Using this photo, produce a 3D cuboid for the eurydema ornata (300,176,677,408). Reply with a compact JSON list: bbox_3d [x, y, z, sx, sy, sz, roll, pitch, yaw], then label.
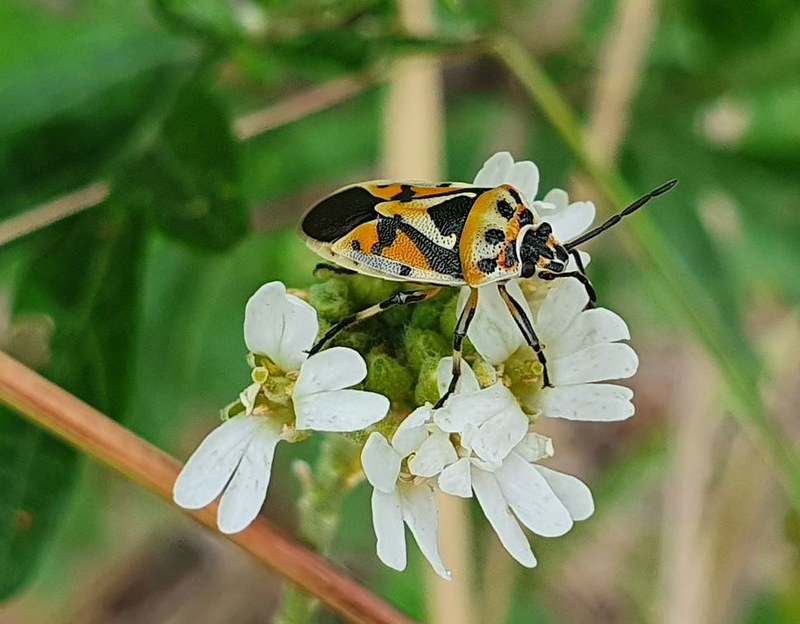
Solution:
[{"bbox_3d":[0.159,-0.082,2.217,0.746,0.576,0.492,-7,88,-38],"label":"eurydema ornata"}]
